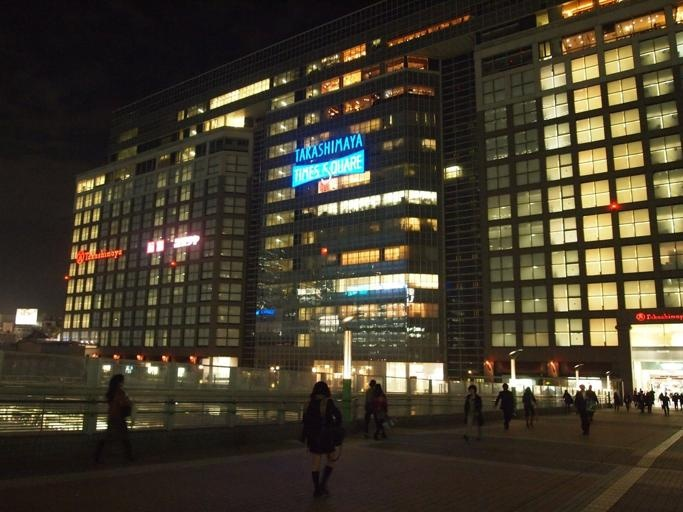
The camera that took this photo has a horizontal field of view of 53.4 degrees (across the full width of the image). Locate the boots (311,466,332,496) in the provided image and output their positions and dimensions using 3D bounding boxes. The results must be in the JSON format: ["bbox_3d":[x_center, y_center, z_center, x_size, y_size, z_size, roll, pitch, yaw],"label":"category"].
[{"bbox_3d":[-0.747,7.546,22.822,0.683,0.932,0.525,7,-17,-28],"label":"boots"}]

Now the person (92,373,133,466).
[{"bbox_3d":[-8.296,5.942,24.997,1.229,3.121,1.178,2,-15,-10],"label":"person"}]

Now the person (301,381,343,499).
[{"bbox_3d":[-0.710,6.187,23.141,1.339,3.786,0.610,0,-15,-5],"label":"person"}]

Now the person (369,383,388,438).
[{"bbox_3d":[1.747,7.392,32.575,0.688,2.574,1.503,-1,-15,1],"label":"person"}]
